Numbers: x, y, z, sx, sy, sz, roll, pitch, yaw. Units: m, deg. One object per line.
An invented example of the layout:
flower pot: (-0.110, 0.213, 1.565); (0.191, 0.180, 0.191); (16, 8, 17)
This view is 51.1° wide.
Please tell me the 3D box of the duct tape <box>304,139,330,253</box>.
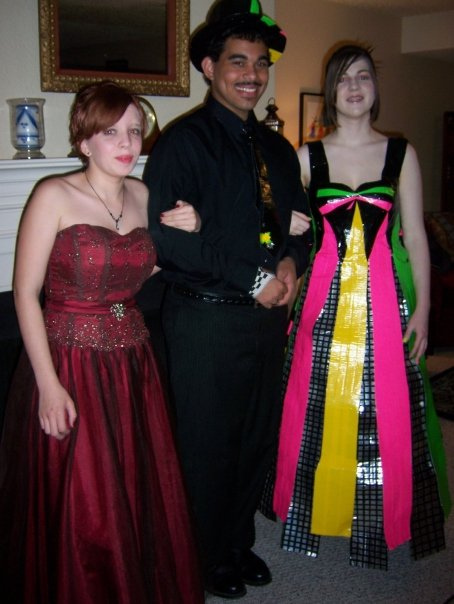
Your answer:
duct tape: (0.281, -0.348, 1.552); (0.071, 0.330, 0.092); (-4, 18, -4)

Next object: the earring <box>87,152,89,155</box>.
earring: (-0.318, -0.340, 1.084); (0.005, 0.001, 0.005); (3, 8, 16)

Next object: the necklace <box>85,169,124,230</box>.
necklace: (-0.291, -0.244, 1.144); (0.086, 0.123, 0.129); (-4, 17, -12)

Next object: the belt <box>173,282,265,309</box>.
belt: (-0.033, -0.044, 1.375); (0.208, 0.062, 0.208); (-6, 15, -32)

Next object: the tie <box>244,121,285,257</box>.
tie: (0.115, -0.318, 1.338); (0.079, 0.407, 0.018); (-11, -14, 18)
